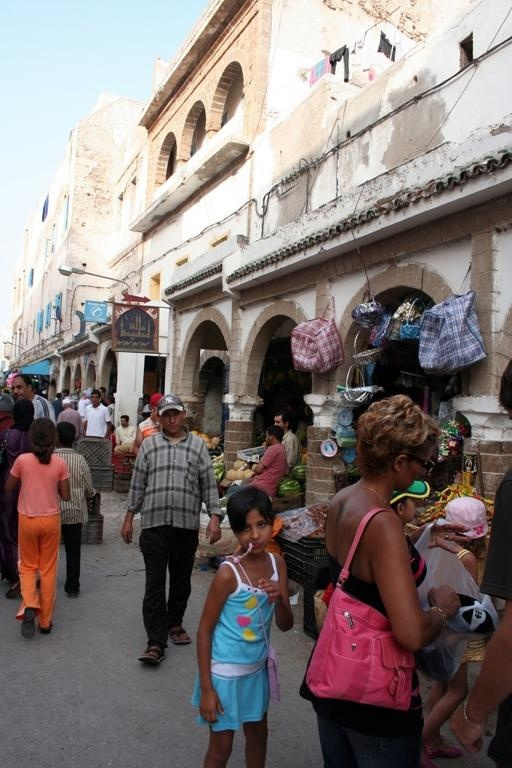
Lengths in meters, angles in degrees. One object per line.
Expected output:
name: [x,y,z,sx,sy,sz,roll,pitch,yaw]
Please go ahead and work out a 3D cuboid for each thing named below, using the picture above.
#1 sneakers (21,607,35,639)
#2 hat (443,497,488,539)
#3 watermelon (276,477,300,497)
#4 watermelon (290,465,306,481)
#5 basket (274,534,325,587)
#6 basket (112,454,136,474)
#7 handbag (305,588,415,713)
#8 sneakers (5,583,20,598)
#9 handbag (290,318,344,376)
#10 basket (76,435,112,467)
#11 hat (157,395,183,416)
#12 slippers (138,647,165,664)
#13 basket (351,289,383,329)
sneakers: [-1.700,1.807,3.986,0.093,0.209,0.085,0,-17,1]
hat: [1.059,0.658,2.592,0.191,0.179,0.280,1,-7,5]
watermelon: [0.502,1.570,7.958,0.270,0.217,0.218,-8,36,46]
watermelon: [0.670,1.419,8.474,0.236,0.183,0.182,-12,-5,0]
basket: [0.450,1.737,5.105,0.367,0.288,0.614,-2,13,-28]
basket: [-3.038,1.791,12.148,0.535,0.715,0.692,3,-12,-12]
handbag: [0.261,0.684,1.378,0.281,0.298,0.184,0,-7,14]
sneakers: [-2.277,1.945,4.954,0.092,0.149,0.084,18,13,-23]
handbag: [0.947,-0.562,7.881,0.712,0.796,0.820,-1,11,32]
basket: [-3.303,1.388,10.837,0.814,0.617,0.817,3,3,-16]
hat: [-0.627,0.139,3.934,0.191,0.142,0.314,-5,4,-2]
slippers: [-0.706,1.861,3.610,0.072,0.089,0.192,-1,-18,5]
basket: [1.421,-0.969,6.886,0.362,0.514,0.456,5,7,-37]
